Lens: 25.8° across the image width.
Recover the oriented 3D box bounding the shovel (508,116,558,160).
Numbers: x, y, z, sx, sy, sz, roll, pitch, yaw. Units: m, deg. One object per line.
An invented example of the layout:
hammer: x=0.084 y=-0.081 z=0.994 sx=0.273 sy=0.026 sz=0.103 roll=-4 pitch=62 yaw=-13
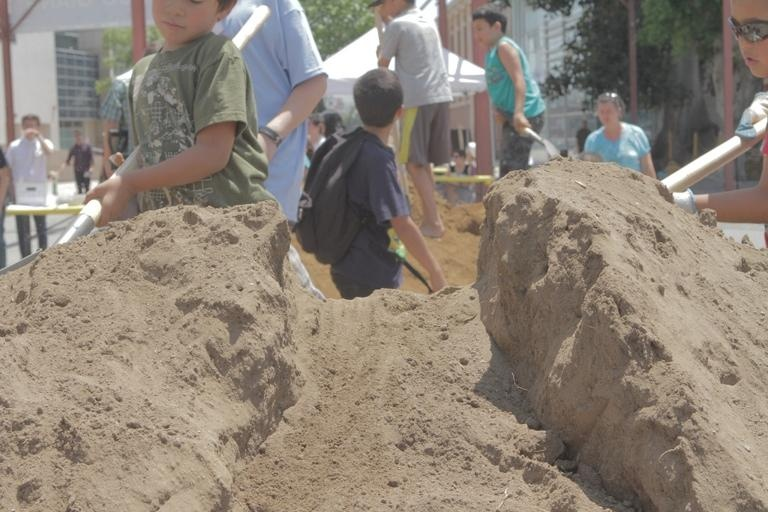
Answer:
shovel: x=1.959 y=-1.503 z=21.181 sx=0.539 sy=0.487 sz=0.955 roll=-1 pitch=10 yaw=-14

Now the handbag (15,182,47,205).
handbag: x=-4.872 y=-0.847 z=22.746 sx=0.320 sy=0.241 sz=0.346 roll=-2 pitch=7 yaw=-17

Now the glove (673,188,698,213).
glove: x=3.277 y=-0.600 z=18.051 sx=0.218 sy=0.251 sz=0.092 roll=13 pitch=-19 yaw=-24

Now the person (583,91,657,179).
person: x=3.029 y=-1.551 z=21.308 sx=0.884 sy=1.024 sz=0.419 roll=2 pitch=9 yaw=5
